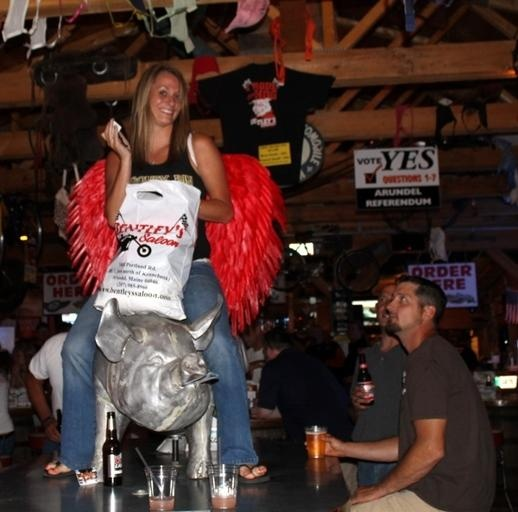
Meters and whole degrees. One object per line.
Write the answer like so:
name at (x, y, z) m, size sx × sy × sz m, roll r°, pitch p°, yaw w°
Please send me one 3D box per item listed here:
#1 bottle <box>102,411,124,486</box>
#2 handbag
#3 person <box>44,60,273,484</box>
bottle at (-0.565, 0.740, 2.591) m, size 0.074 × 0.272 × 0.085 m, roll 6°, pitch -1°, yaw -20°
handbag at (-0.413, -0.020, 2.598) m, size 0.540 × 0.652 × 0.250 m, roll 7°, pitch -11°, yaw -1°
person at (-0.423, -0.070, 2.992) m, size 0.806 × 1.934 × 0.717 m, roll 1°, pitch -5°, yaw -17°
